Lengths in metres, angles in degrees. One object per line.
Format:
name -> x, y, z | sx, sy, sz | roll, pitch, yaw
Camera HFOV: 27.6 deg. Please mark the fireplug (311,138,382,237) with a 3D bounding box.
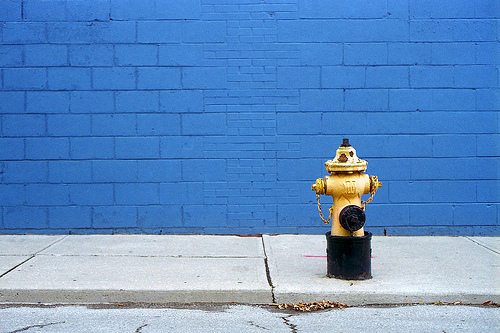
fireplug -> 1.619, 0.364, 17.111 | 1.076, 1.624, 0.445 | 1, 4, 6
